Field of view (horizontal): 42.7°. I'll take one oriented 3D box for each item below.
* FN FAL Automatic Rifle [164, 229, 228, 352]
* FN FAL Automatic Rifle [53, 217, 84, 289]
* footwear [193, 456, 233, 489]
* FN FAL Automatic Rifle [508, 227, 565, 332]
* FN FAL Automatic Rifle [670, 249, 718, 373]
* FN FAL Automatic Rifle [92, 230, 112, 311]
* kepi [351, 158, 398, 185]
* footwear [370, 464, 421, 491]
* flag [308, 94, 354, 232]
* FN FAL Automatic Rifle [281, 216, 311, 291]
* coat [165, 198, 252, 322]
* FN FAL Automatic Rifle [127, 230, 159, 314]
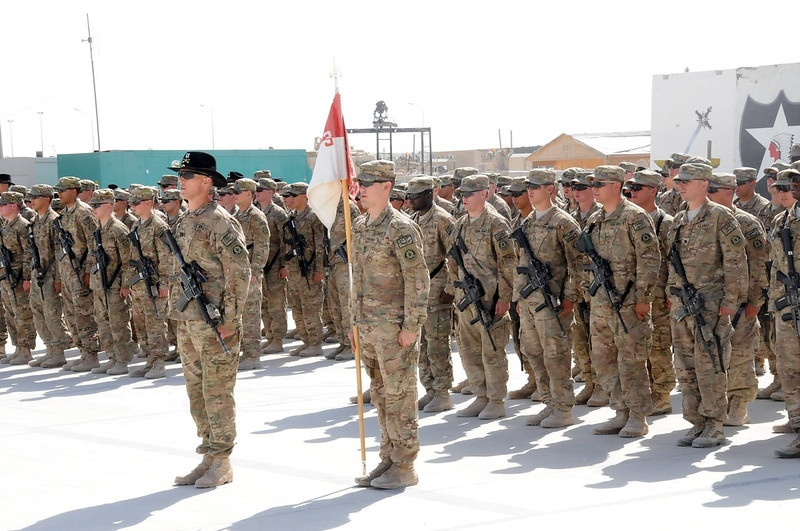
[{"bbox_3d":[-2.346,0.281,11.509,0.819,1.356,0.275,7,16,38],"label":"FN FAL Automatic Rifle"},{"bbox_3d":[-5.301,-0.234,16.360,0.425,1.187,0.138,-29,-7,32],"label":"FN FAL Automatic Rifle"},{"bbox_3d":[-2.193,2.341,11.535,0.557,0.356,0.216,-2,1,-26],"label":"footwear"},{"bbox_3d":[1.774,0.152,13.072,0.682,1.378,0.162,-22,-11,17],"label":"FN FAL Automatic Rifle"},{"bbox_3d":[3.536,0.524,12.255,0.240,1.394,0.747,-9,14,-27],"label":"FN FAL Automatic Rifle"},{"bbox_3d":[-4.691,0.055,16.075,0.201,1.241,0.615,-4,-2,-38],"label":"FN FAL Automatic Rifle"},{"bbox_3d":[-0.289,-1.065,11.521,0.406,0.174,0.253,-1,5,-12],"label":"kepi"},{"bbox_3d":[-0.040,2.335,11.404,0.610,0.237,0.210,-2,13,-12],"label":"footwear"},{"bbox_3d":[-0.829,-1.222,11.914,0.565,1.562,0.495,-4,13,-5],"label":"flag"},{"bbox_3d":[-1.720,-0.241,17.039,0.661,1.228,0.186,-15,-10,20],"label":"FN FAL Automatic Rifle"},{"bbox_3d":[-2.106,-0.057,11.493,0.992,1.924,0.487,-3,0,7],"label":"coat"},{"bbox_3d":[-3.970,0.095,15.820,0.658,1.274,0.146,-11,-6,11],"label":"FN FAL Automatic Rifle"}]
